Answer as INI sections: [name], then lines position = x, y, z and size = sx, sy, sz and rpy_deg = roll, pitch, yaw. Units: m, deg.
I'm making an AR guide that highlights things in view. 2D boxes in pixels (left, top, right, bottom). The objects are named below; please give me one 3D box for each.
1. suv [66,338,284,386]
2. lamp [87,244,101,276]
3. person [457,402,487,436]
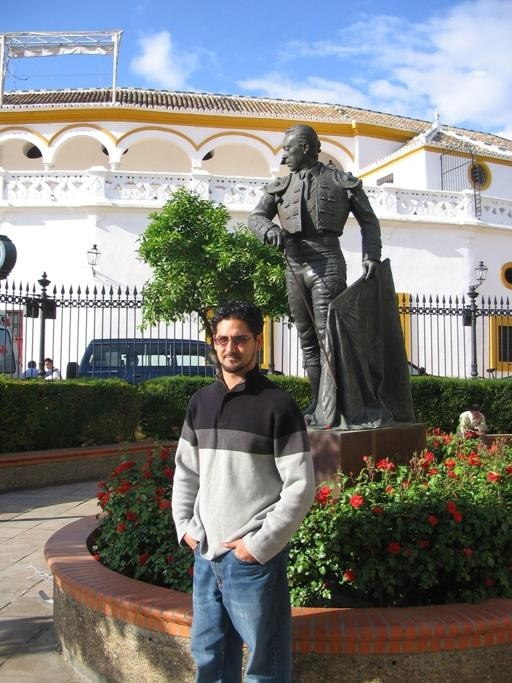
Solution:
[suv]
position = -2.075, 0.351, 13.336
size = 2.172, 0.998, 1.278
rpy_deg = -1, -1, -9
[lamp]
position = -4.502, -2.282, 19.348
size = 0.367, 0.918, 0.554
rpy_deg = 0, -3, -14
[person]
position = 2.988, 1.110, 9.665
size = 0.329, 0.424, 1.838
rpy_deg = -2, -3, 16
